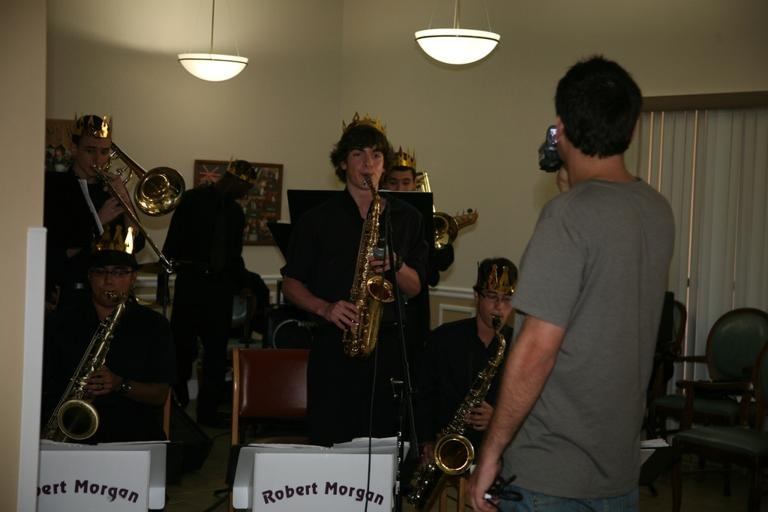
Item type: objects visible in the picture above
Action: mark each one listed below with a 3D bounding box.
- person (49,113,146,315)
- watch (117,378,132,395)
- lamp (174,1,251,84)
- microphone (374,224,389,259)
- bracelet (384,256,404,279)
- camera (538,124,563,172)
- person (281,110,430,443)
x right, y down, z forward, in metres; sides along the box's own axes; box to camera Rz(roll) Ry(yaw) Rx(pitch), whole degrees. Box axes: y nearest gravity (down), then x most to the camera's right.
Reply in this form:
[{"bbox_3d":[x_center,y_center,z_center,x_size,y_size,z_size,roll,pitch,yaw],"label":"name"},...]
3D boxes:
[{"bbox_3d":[-1.928,-0.302,4.803,0.476,1.515,0.555,1,10,-31],"label":"person"},{"bbox_3d":[-1.416,0.715,3.955,0.086,0.099,0.062,-18,-7,35],"label":"watch"},{"bbox_3d":[-1.632,-2.098,6.911,0.600,0.752,0.618,3,-2,-19],"label":"lamp"},{"bbox_3d":[-0.011,-0.069,3.638,0.048,0.156,0.109,3,3,-2],"label":"microphone"},{"bbox_3d":[0.047,0.052,3.501,0.035,0.100,0.084,15,-24,-34],"label":"bracelet"},{"bbox_3d":[0.657,-0.417,2.803,0.112,0.182,0.116,10,13,42],"label":"camera"},{"bbox_3d":[-0.116,0.410,3.731,0.734,2.139,0.582,0,4,-11],"label":"person"}]
